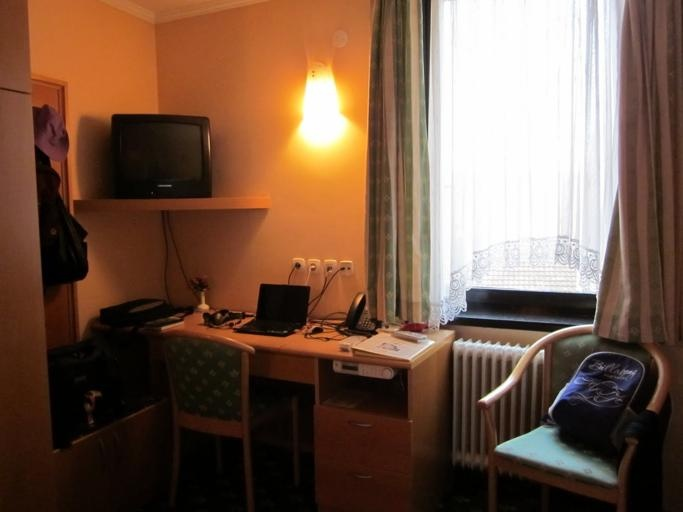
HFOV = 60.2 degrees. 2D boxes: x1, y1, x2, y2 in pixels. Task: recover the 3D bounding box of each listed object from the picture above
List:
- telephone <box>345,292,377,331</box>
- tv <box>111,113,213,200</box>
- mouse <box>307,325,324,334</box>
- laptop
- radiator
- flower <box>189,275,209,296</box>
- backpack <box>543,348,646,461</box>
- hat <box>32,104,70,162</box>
[{"bbox_3d":[0.139,0.302,3.577,0.173,0.245,0.235,2,2,14],"label":"telephone"},{"bbox_3d":[-1.152,-0.634,3.998,0.773,0.779,0.477,-1,1,-11],"label":"tv"},{"bbox_3d":[-0.152,0.438,3.529,0.098,0.047,0.037,0,5,29],"label":"mouse"},{"bbox_3d":[-0.429,0.317,3.638,0.395,0.263,0.365,1,3,30],"label":"laptop"},{"bbox_3d":[0.839,0.829,3.409,0.505,0.743,0.676,0,3,28],"label":"radiator"},{"bbox_3d":[-0.974,0.203,4.050,0.123,0.147,0.124,-6,-4,32],"label":"flower"},{"bbox_3d":[1.358,0.718,3.020,0.411,0.195,0.557,12,43,47],"label":"backpack"},{"bbox_3d":[-1.708,-0.721,3.480,0.227,0.324,0.142,-7,12,-44],"label":"hat"}]
